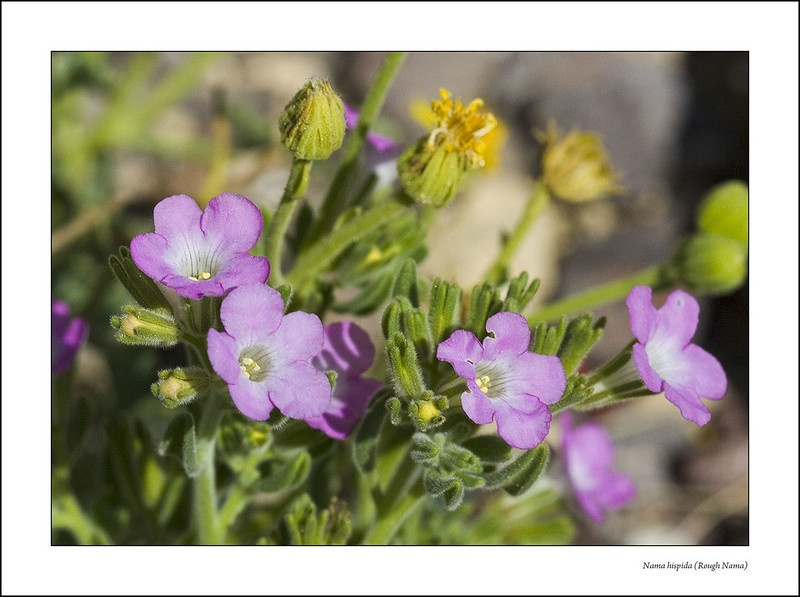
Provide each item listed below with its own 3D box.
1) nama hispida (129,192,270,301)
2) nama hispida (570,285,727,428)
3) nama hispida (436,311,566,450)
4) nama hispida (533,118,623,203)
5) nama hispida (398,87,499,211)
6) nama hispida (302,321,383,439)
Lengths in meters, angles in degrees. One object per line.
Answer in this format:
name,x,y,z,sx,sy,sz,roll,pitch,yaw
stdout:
nama hispida,-0.440,-0.081,1.815,0.253,0.285,0.147,15,46,-13
nama hispida,0.533,0.144,1.869,0.196,0.282,0.312,-37,18,26
nama hispida,0.225,0.198,1.746,0.273,0.129,0.331,9,46,-17
nama hispida,0.412,-0.311,1.959,0.177,0.152,0.101,24,-8,8
nama hispida,0.108,-0.331,1.853,0.217,0.246,0.112,-15,19,-21
nama hispida,-0.127,0.196,1.962,0.227,0.235,0.063,-8,-26,-24
